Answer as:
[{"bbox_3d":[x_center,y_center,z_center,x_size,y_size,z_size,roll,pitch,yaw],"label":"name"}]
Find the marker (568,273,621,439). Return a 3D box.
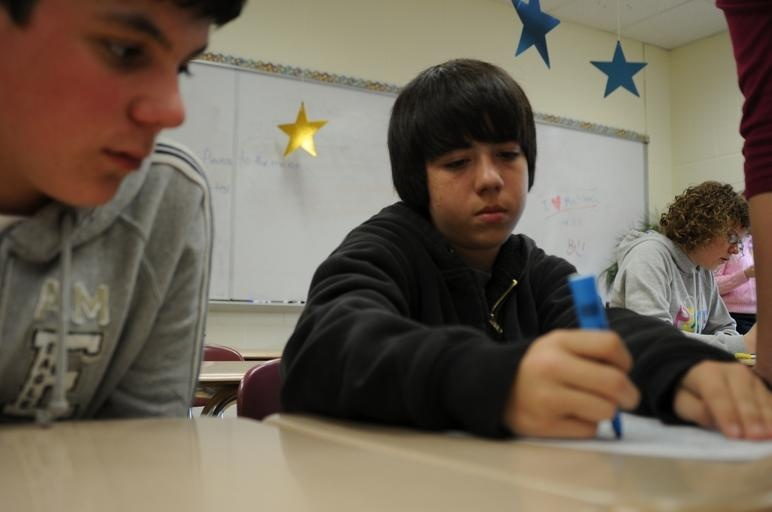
[{"bbox_3d":[0.219,0.112,0.610,0.027,0.179,0.035,-7,22,32],"label":"marker"}]
